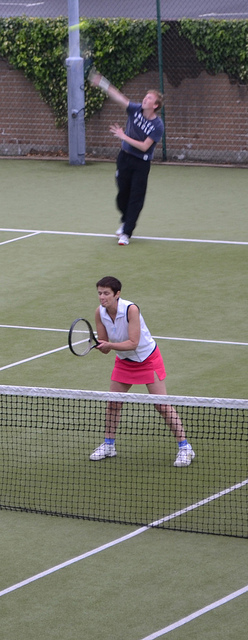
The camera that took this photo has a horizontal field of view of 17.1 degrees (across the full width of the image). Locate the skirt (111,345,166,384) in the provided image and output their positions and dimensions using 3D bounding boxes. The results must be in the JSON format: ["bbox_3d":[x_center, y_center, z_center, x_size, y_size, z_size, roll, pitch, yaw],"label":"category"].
[{"bbox_3d":[0.098,0.346,5.589,0.337,0.280,0.225,-3,45,16],"label":"skirt"}]

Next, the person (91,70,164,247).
[{"bbox_3d":[0.061,-2.118,11.517,0.684,2.148,1.105,-9,15,-29],"label":"person"}]

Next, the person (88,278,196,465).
[{"bbox_3d":[0.107,0.300,5.610,0.705,1.250,0.675,0,13,5],"label":"person"}]

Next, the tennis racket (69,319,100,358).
[{"bbox_3d":[-0.249,0.110,5.189,0.164,0.266,0.428,-1,15,1],"label":"tennis racket"}]
